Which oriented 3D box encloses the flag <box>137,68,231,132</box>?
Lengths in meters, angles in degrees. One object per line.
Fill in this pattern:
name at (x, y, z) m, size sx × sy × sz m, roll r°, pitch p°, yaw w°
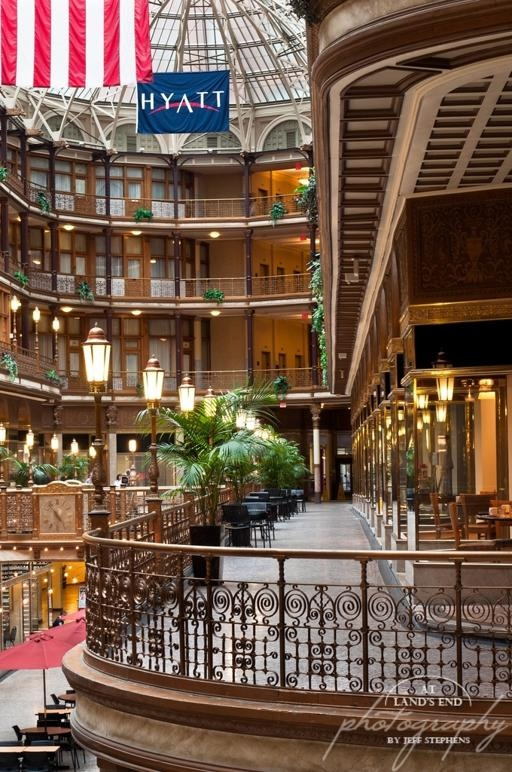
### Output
flag at (-1.755, -6.810, 18.968) m, size 2.293 × 1.486 × 0.141 m, roll 0°, pitch 0°, yaw 19°
